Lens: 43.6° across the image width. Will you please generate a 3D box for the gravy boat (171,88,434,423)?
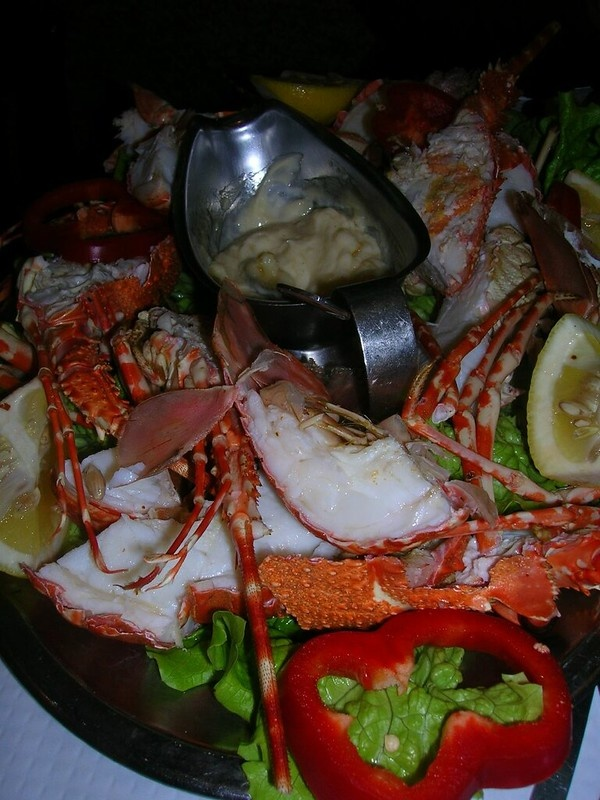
[{"bbox_3d":[0.023,-0.270,1.593,0.506,0.302,0.718,-25,84,-22],"label":"gravy boat"}]
